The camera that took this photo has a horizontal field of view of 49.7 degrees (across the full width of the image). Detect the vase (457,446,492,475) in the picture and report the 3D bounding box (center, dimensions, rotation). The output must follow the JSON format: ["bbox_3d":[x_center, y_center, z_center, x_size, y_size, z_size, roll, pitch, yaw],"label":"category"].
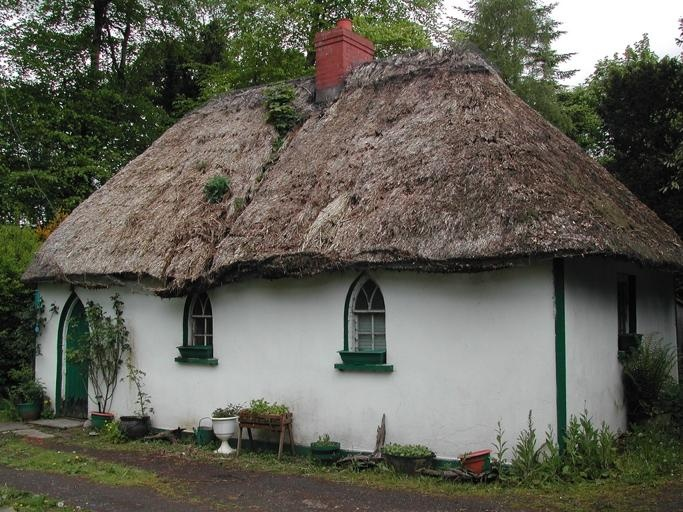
[{"bbox_3d":[2.413,3.705,13.232,0.384,0.305,0.419,-11,-19,-3],"label":"vase"}]

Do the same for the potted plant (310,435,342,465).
[{"bbox_3d":[-0.311,3.719,14.190,0.468,0.467,0.472,7,-10,-39],"label":"potted plant"}]

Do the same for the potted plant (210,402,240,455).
[{"bbox_3d":[-2.356,3.566,15.139,0.514,0.843,0.689,1,6,20],"label":"potted plant"}]

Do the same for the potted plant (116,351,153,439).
[{"bbox_3d":[-4.590,3.073,16.349,0.725,1.716,1.064,-3,5,-17],"label":"potted plant"}]

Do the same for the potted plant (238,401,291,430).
[{"bbox_3d":[-1.515,3.159,14.474,0.784,0.362,0.577,0,-5,29],"label":"potted plant"}]

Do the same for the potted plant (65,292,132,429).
[{"bbox_3d":[-5.897,2.215,17.339,1.013,2.717,2.567,-5,7,-38],"label":"potted plant"}]
